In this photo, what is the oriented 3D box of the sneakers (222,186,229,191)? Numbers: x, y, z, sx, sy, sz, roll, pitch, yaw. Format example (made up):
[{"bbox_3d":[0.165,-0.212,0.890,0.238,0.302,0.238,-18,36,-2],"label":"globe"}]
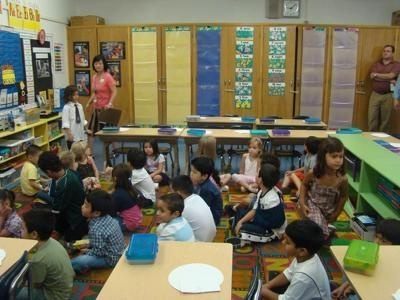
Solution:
[{"bbox_3d":[0.359,0.566,4.709,0.072,0.042,0.121,0,9,1],"label":"sneakers"}]

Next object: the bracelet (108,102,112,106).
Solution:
[{"bbox_3d":[-1.747,-0.878,6.187,0.065,0.046,0.066,-1,-5,-22],"label":"bracelet"}]

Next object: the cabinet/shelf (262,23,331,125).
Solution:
[{"bbox_3d":[2.700,-1.843,7.920,0.859,2.486,0.257,-3,11,-6],"label":"cabinet/shelf"}]
